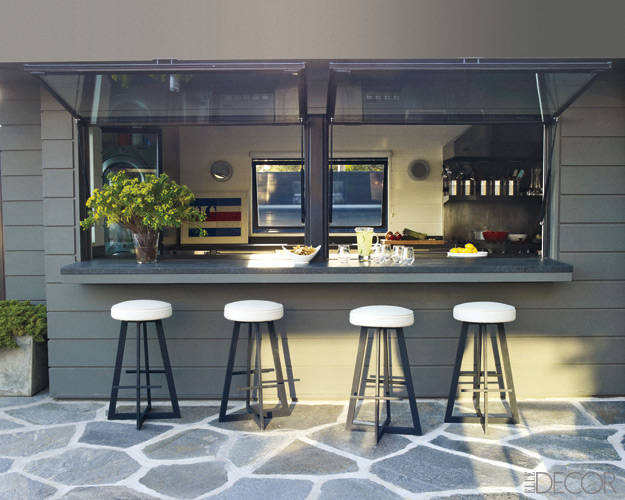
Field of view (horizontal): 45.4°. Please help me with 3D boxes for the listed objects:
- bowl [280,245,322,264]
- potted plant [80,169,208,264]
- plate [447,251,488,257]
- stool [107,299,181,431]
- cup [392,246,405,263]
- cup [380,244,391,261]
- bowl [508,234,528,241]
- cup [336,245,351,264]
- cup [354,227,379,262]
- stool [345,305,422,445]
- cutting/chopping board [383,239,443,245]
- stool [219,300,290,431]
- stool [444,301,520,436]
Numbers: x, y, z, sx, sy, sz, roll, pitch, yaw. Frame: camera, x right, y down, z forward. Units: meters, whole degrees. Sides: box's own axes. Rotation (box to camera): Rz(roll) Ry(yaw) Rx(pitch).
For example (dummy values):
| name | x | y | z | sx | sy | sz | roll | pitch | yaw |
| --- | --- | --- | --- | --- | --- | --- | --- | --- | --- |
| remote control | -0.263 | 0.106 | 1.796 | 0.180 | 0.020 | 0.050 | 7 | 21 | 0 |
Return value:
| name | x | y | z | sx | sy | sz | roll | pitch | yaw |
| --- | --- | --- | --- | --- | --- | --- | --- | --- | --- |
| bowl | -0.104 | 0.034 | 5.989 | 0.286 | 0.147 | 0.643 | 1 | 1 | -11 |
| potted plant | -1.341 | -0.267 | 6.013 | 0.812 | 0.681 | 0.822 | 0 | 0 | 4 |
| plate | 1.287 | 0.041 | 6.239 | 0.318 | 0.047 | 0.241 | 1 | 1 | 3 |
| stool | -1.255 | 0.825 | 5.604 | 0.539 | 0.900 | 0.667 | 1 | 1 | -15 |
| cup | 0.648 | 0.039 | 5.748 | 0.094 | 0.131 | 0.082 | 1 | 1 | 20 |
| cup | 0.560 | 0.028 | 5.822 | 0.090 | 0.135 | 0.114 | 1 | 1 | 4 |
| bowl | 2.257 | -0.131 | 8.248 | 0.196 | 0.083 | 0.216 | 1 | 1 | 0 |
| cup | 0.248 | 0.035 | 5.849 | 0.125 | 0.165 | 0.121 | -1 | 6 | 0 |
| cup | 0.424 | -0.046 | 6.064 | 0.135 | 0.259 | 0.441 | 1 | 1 | 5 |
| stool | 0.526 | 0.859 | 5.483 | 0.547 | 0.919 | 0.860 | 1 | 1 | 4 |
| cutting/chopping board | 1.068 | -0.073 | 7.743 | 0.258 | 0.055 | 0.853 | 2 | 1 | 39 |
| stool | -0.409 | 0.822 | 5.579 | 0.558 | 0.897 | 0.741 | 1 | 1 | -2 |
| stool | 1.248 | 0.827 | 5.543 | 0.569 | 0.930 | 0.532 | 0 | 2 | 0 |
